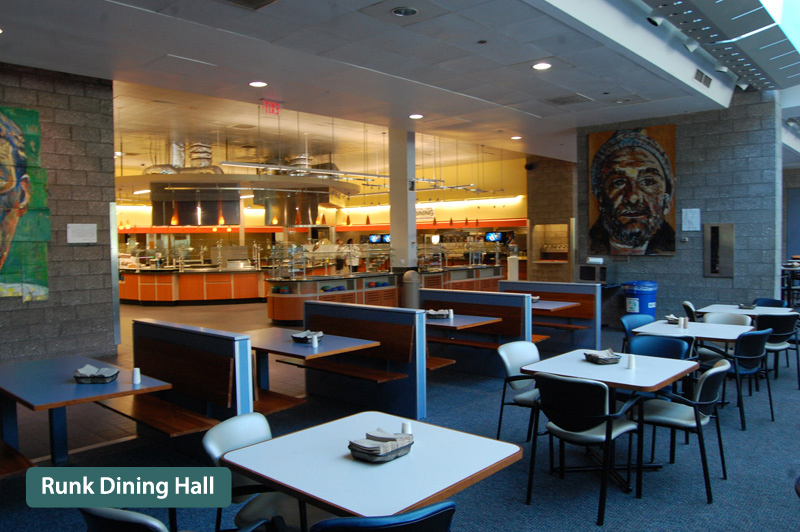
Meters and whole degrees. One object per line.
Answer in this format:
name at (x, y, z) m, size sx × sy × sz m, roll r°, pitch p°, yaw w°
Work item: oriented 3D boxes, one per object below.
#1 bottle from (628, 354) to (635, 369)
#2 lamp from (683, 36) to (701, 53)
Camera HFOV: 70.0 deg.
bottle at (2.258, 0.934, 5.561) m, size 0.060 × 0.121 × 0.133 m, roll 6°, pitch 16°, yaw 20°
lamp at (4.410, -3.337, 8.660) m, size 0.270 × 0.156 × 0.271 m, roll 5°, pitch -14°, yaw 33°
